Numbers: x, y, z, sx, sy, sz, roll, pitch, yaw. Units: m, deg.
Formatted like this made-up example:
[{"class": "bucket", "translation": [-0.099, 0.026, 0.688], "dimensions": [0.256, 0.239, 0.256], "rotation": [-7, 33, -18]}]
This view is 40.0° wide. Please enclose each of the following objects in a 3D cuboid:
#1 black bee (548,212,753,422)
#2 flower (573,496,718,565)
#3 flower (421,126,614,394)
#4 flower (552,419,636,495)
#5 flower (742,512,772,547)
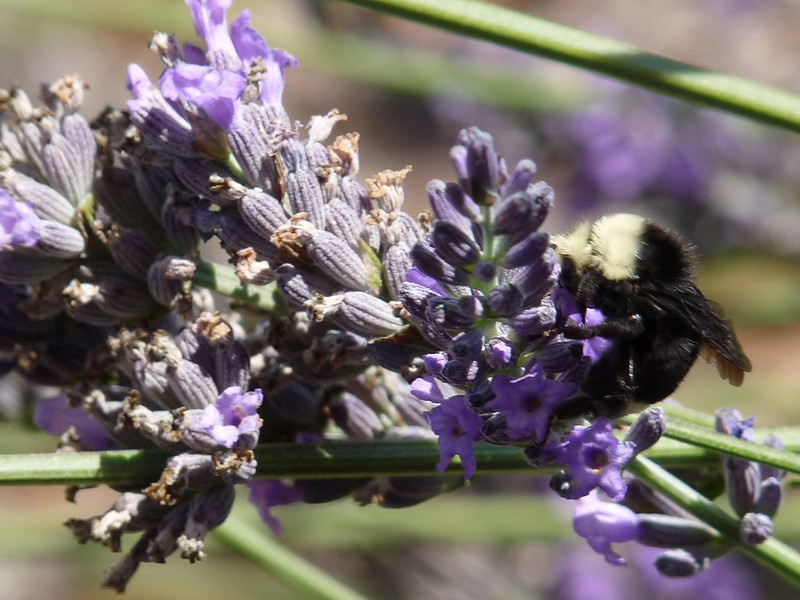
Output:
[{"class": "black bee", "translation": [0.457, 0.056, 1.911], "dimensions": [0.230, 0.137, 0.363], "rotation": [3, 24, 0]}, {"class": "flower", "translation": [0.437, 0.401, 1.916], "dimensions": [0.205, 0.079, 0.127], "rotation": [3, 5, 2]}, {"class": "flower", "translation": [0.174, -0.050, 1.746], "dimensions": [0.313, 0.397, 0.183], "rotation": [13, -2, 3]}, {"class": "flower", "translation": [0.313, 0.259, 1.770], "dimensions": [0.115, 0.124, 0.059], "rotation": [12, -2, 6]}, {"class": "flower", "translation": [0.621, 0.400, 1.916], "dimensions": [0.061, 0.049, 0.034], "rotation": [-20, -20, 15]}]
